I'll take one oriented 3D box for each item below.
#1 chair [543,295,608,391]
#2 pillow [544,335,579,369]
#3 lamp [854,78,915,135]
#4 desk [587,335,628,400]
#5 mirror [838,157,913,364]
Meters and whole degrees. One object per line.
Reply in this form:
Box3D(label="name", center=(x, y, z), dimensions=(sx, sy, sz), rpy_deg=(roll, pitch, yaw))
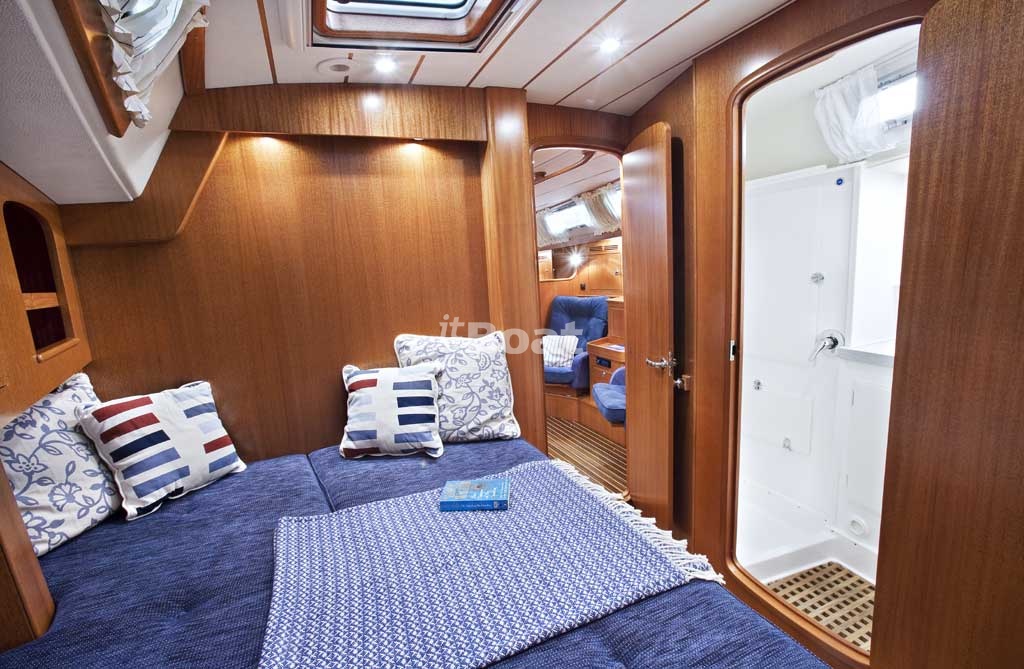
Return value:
Box3D(label="chair", center=(0.532, 0.063, 5.996), dimensions=(0.665, 0.795, 0.761), rpy_deg=(5, 14, 28))
Box3D(label="pillow", center=(0.466, 0.144, 5.931), dimensions=(0.329, 0.225, 0.414), rpy_deg=(-2, 7, 6))
Box3D(label="lamp", center=(1.976, -1.212, 3.331), dimensions=(0.087, 0.251, 0.291), rpy_deg=(-11, 11, -41))
Box3D(label="desk", center=(0.867, 0.267, 5.427), dimensions=(0.361, 0.421, 0.374), rpy_deg=(-16, 25, -35))
Box3D(label="mirror", center=(2.111, -0.455, 3.588), dimensions=(0.410, 1.062, 0.178), rpy_deg=(-8, 9, -26))
